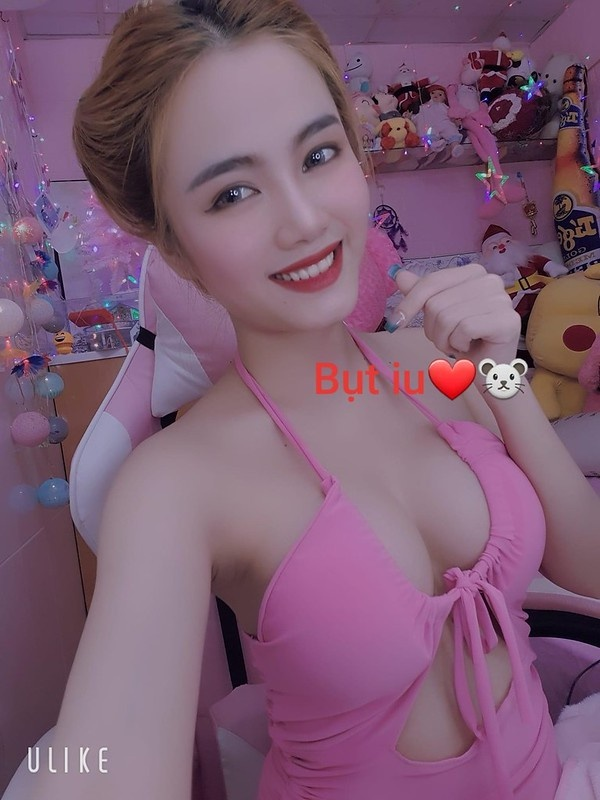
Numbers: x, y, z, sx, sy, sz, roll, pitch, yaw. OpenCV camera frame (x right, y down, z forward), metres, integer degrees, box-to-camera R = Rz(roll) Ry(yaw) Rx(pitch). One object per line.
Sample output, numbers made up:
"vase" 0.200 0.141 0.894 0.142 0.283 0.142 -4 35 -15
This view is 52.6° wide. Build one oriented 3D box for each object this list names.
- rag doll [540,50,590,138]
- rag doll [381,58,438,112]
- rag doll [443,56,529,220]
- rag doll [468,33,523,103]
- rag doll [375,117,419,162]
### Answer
"rag doll" 1.359 -1.615 3.176 0.150 0.483 0.197 13 19 33
"rag doll" 0.566 -1.584 3.137 0.268 0.347 0.112 -6 -18 7
"rag doll" 0.932 -1.336 3.203 0.359 0.958 0.265 -16 -4 18
"rag doll" 1.025 -1.741 3.195 0.266 0.386 0.121 11 0 3
"rag doll" 0.470 -1.287 2.955 0.152 0.172 0.110 -16 52 -3
